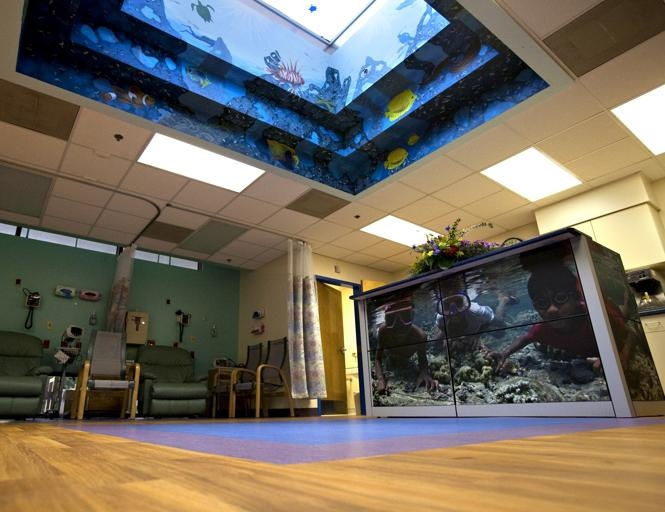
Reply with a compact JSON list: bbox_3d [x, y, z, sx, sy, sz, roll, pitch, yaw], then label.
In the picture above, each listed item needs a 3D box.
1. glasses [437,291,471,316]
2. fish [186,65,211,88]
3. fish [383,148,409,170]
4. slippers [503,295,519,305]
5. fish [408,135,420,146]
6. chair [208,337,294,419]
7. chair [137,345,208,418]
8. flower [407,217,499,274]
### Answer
[{"bbox_3d":[0.949,0.368,3.019,0.209,0.110,0.204,-2,-6,-36],"label":"glasses"},{"bbox_3d":[-1.476,-1.931,4.226,0.058,0.203,0.240,-6,-47,51],"label":"fish"},{"bbox_3d":[0.826,-1.259,5.014,0.357,0.304,0.030,-18,-26,41],"label":"fish"},{"bbox_3d":[1.225,0.304,2.670,0.059,0.022,0.070,-26,27,-15],"label":"slippers"},{"bbox_3d":[1.034,-1.472,4.905,0.046,0.131,0.111,-4,33,-47],"label":"fish"},{"bbox_3d":[-1.293,1.996,6.206,0.564,0.834,1.374,21,-32,-38],"label":"chair"},{"bbox_3d":[-2.447,1.821,5.786,0.877,0.909,1.120,15,-19,-36],"label":"chair"},{"bbox_3d":[1.316,-0.169,4.242,0.802,0.320,0.806,-17,4,37],"label":"flower"}]
